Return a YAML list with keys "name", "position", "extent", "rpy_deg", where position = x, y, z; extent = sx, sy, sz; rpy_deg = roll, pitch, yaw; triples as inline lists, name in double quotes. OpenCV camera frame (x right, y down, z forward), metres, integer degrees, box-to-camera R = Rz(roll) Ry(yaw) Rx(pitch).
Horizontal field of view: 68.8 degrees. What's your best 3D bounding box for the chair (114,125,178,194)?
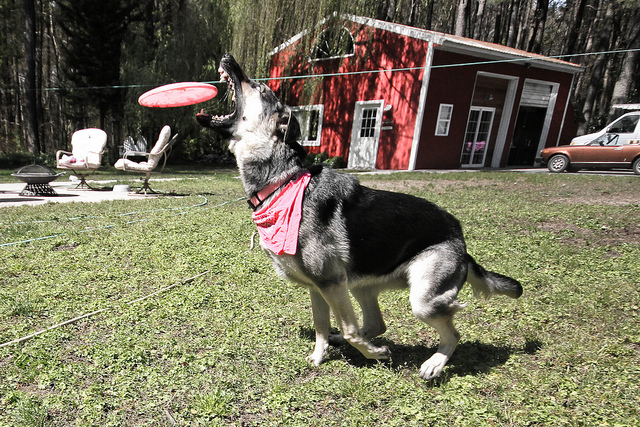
- name: "chair"
  position: [-5.076, -1.570, 13.528]
  extent: [1.436, 1.896, 1.373]
  rpy_deg: [-7, 17, -33]
